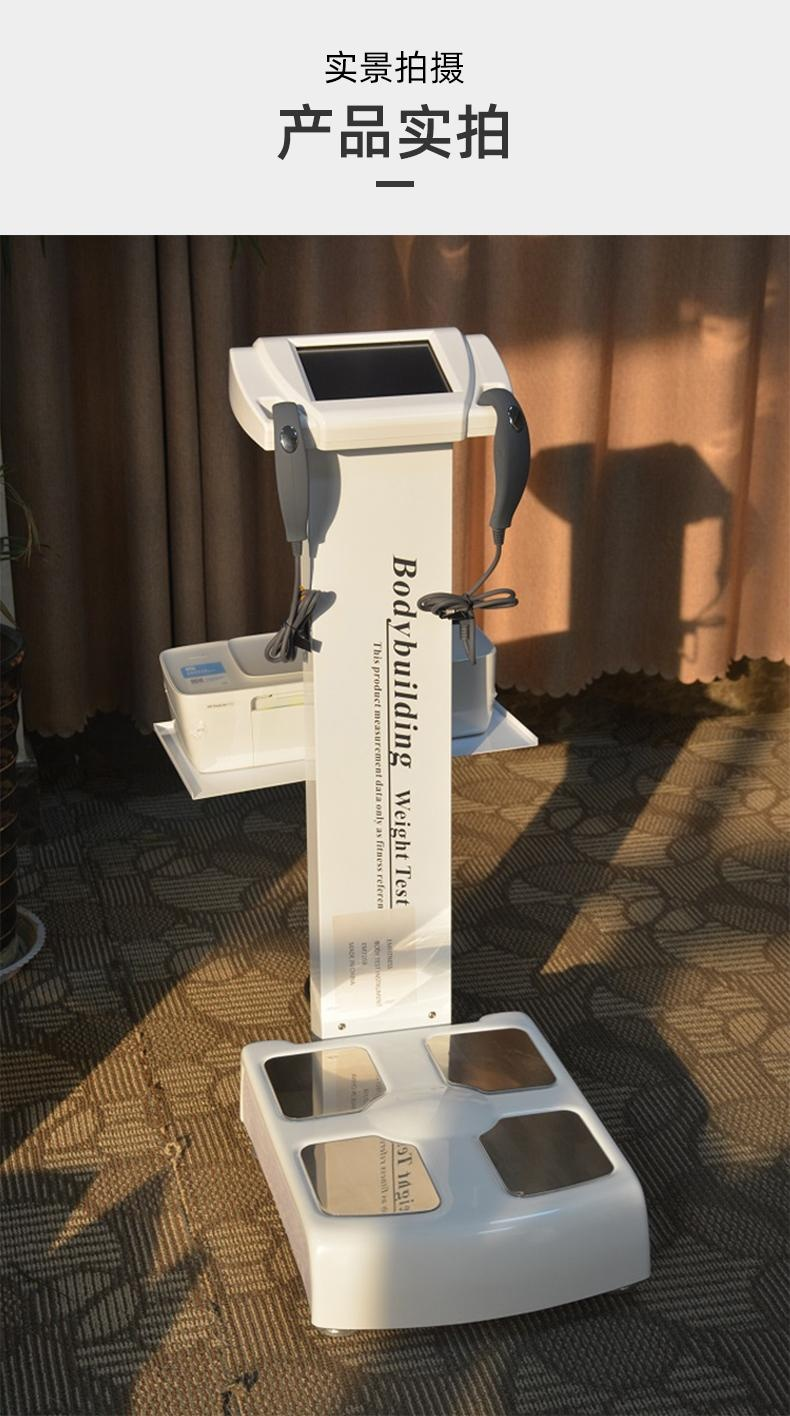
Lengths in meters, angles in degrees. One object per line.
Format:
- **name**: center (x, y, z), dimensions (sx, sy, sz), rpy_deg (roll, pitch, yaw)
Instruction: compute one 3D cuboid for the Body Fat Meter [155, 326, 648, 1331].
- **Body Fat Meter**: center (0.046, 0.128, 1.369), dimensions (0.444, 1.124, 0.506), rpy_deg (-5, 19, -18)
